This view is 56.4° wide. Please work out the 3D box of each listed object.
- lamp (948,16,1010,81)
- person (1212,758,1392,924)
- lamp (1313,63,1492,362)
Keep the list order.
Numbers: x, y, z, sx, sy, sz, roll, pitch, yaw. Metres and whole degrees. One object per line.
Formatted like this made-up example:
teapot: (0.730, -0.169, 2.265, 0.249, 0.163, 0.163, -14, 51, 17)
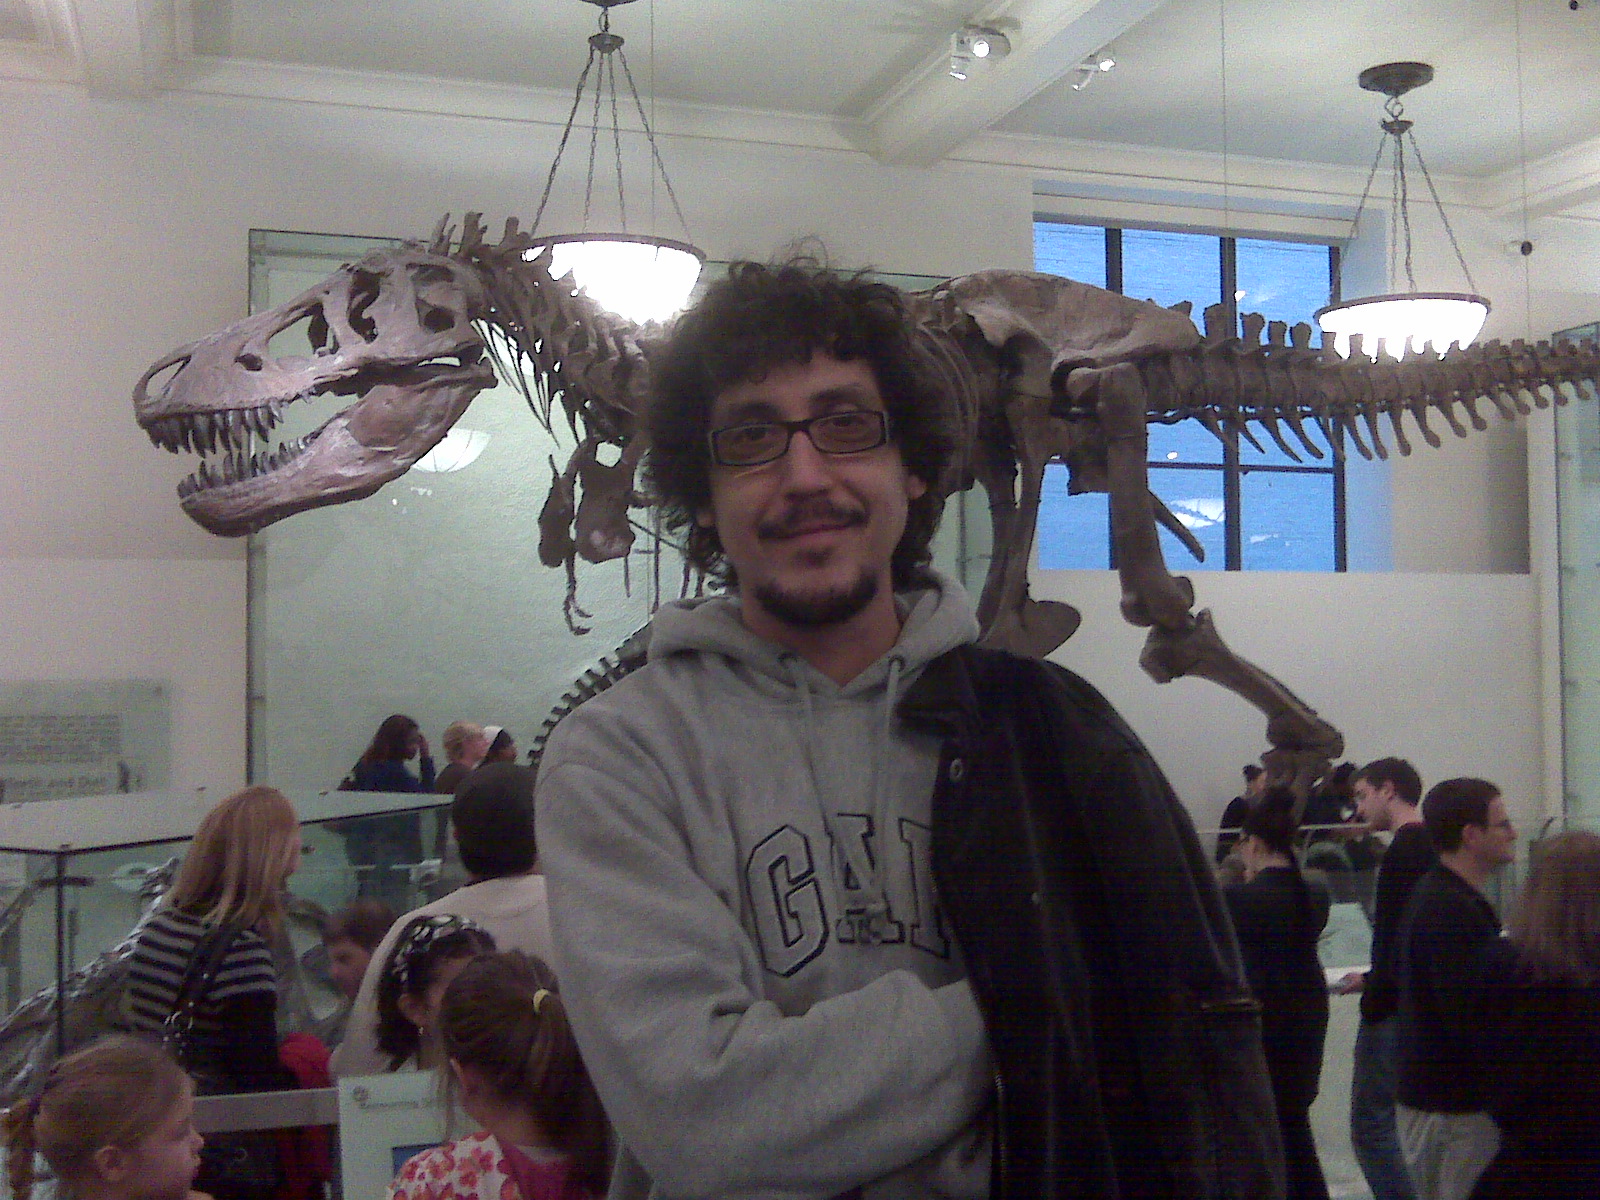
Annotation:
lamp: (0.917, -2.726, 7.413, 0.306, 0.309, 0.231, 13, 12, 15)
person: (1.707, 0.807, 4.894, 0.656, 0.333, 0.901, 0, 0, 3)
lamp: (3.597, -2.069, 8.854, 0.864, 1.869, 3.074, -3, -3, 25)
